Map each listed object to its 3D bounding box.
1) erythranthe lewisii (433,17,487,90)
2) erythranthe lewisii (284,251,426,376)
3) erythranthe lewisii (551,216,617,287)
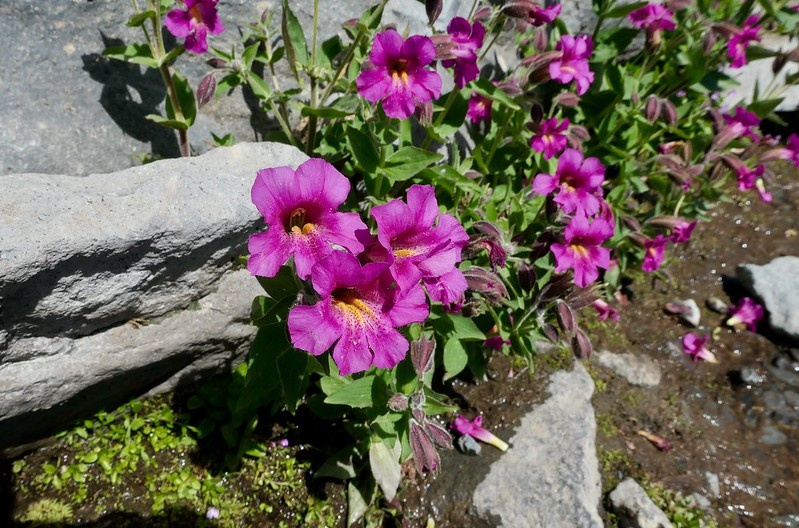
[{"bbox_3d":[0.443,-1.524,4.070,0.429,0.444,0.173,3,63,3],"label":"erythranthe lewisii"},{"bbox_3d":[-0.273,0.259,3.517,0.903,0.325,1.059,2,38,-13],"label":"erythranthe lewisii"},{"bbox_3d":[1.344,-0.117,4.234,0.468,0.525,0.183,6,12,-13],"label":"erythranthe lewisii"}]
